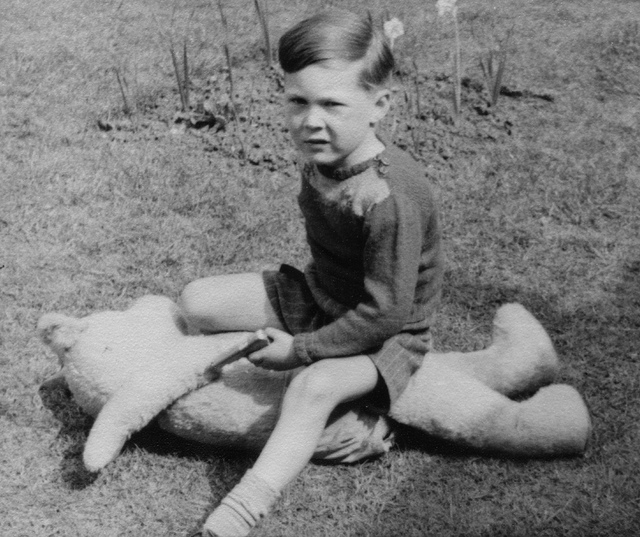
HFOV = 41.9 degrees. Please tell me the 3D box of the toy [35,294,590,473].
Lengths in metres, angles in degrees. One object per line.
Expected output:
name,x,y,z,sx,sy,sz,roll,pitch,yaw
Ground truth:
toy,-0.097,0.406,3.173,2.065,0.455,1.094,2,10,-9
